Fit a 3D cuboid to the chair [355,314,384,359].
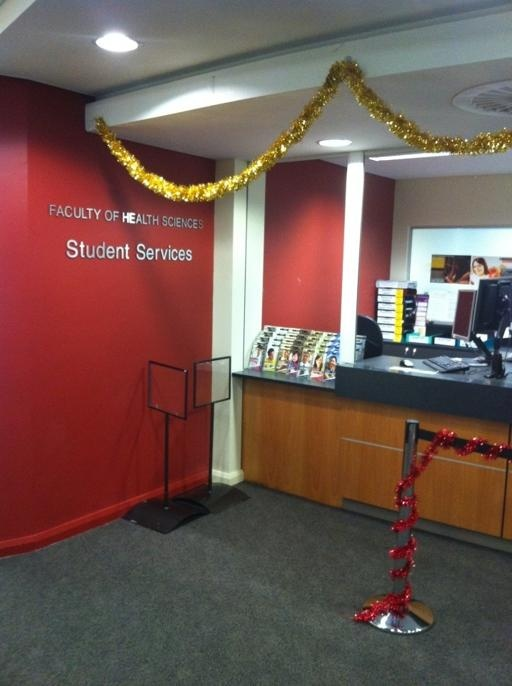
[{"bbox_3d":[0.931,-0.055,4.308,0.196,0.320,0.554,2,4,11],"label":"chair"}]
